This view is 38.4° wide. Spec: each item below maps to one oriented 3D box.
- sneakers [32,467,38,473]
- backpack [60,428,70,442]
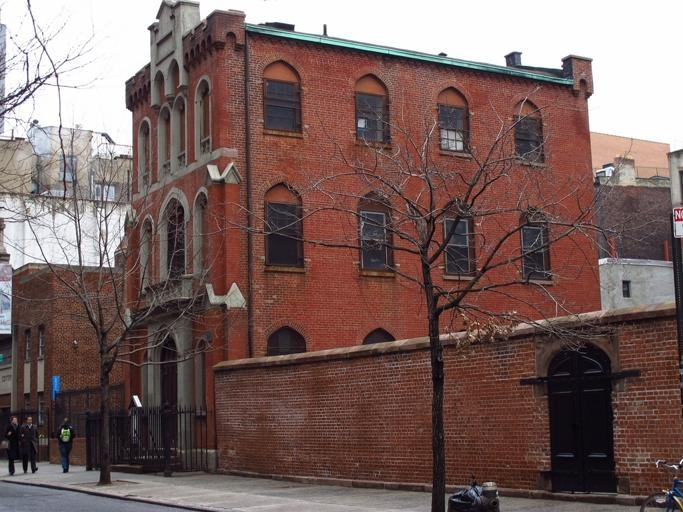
[{"bbox_3d":[-10.790,7.603,34.610,0.143,0.201,0.201,-1,-8,-8],"label":"sneakers"},{"bbox_3d":[-9.838,6.497,35.187,0.297,0.448,0.412,6,-23,-20],"label":"backpack"}]
